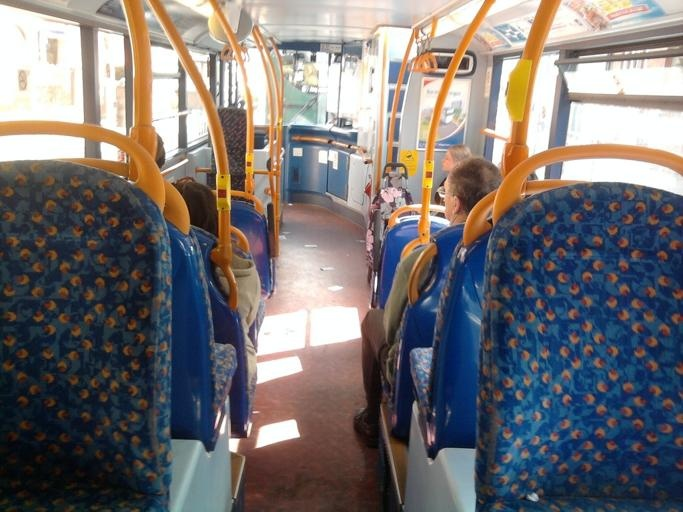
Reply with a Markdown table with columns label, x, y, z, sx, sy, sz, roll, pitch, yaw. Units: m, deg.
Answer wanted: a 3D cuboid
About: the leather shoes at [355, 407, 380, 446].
| label | x | y | z | sx | sy | sz | roll | pitch | yaw |
| --- | --- | --- | --- | --- | --- | --- | --- | --- | --- |
| leather shoes | 0.145 | 1.018 | 3.091 | 0.091 | 0.174 | 0.232 | 0 | 16 | -6 |
